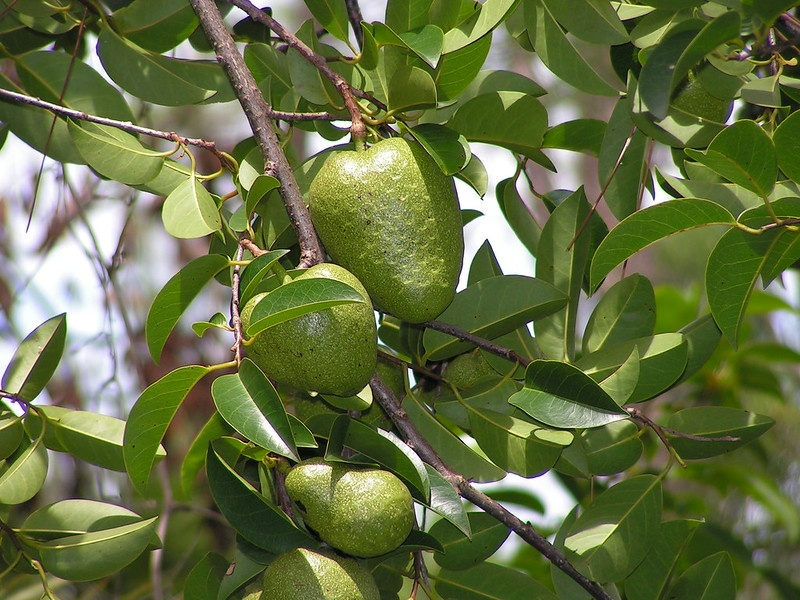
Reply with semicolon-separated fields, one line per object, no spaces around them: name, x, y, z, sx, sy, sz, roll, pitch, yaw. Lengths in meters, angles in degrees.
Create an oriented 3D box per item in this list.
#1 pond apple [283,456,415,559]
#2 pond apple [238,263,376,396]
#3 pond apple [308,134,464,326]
pond apple;-0.124;0.464;2.563;0.293;0.209;0.206;13;41;7
pond apple;-0.142;0.081;2.598;0.268;0.259;0.295;-7;96;-42
pond apple;-0.004;-0.191;2.727;0.357;0.344;0.512;-42;127;-61
